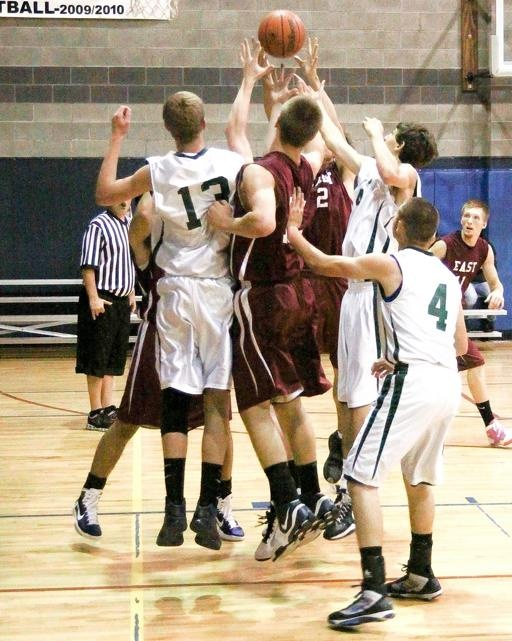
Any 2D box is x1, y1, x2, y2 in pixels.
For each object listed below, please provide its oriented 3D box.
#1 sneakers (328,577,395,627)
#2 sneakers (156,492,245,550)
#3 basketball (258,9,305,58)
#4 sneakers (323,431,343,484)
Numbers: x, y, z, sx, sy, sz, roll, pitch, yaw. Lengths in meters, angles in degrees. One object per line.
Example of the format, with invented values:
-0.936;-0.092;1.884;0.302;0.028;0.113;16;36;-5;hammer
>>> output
0.435;1.149;4.152;0.336;0.233;0.113;-3;-14;-2;sneakers
-0.259;0.873;4.498;0.356;0.225;0.297;0;-2;7;sneakers
0.134;-1.571;5.709;0.291;0.292;0.291;-9;19;-34;basketball
0.418;0.758;5.659;0.097;0.291;0.125;5;15;9;sneakers
